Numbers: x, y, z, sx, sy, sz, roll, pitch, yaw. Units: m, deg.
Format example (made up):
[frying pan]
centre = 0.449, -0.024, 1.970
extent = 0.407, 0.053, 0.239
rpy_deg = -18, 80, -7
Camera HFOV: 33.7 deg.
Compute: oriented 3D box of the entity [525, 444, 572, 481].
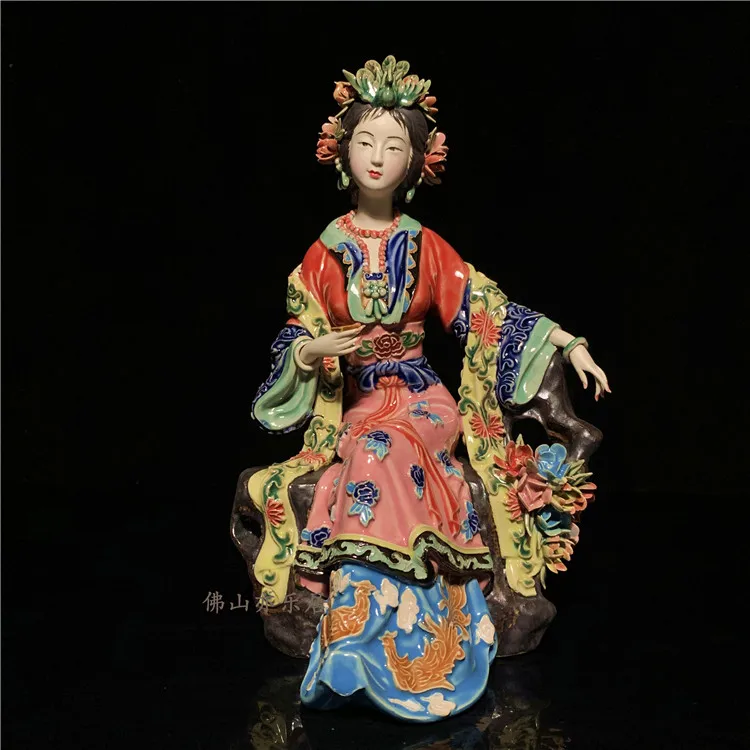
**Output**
[entity]
centre = 0.733, 0.359, 5.104
extent = 0.137, 0.139, 0.081
rpy_deg = 0, 13, 5
